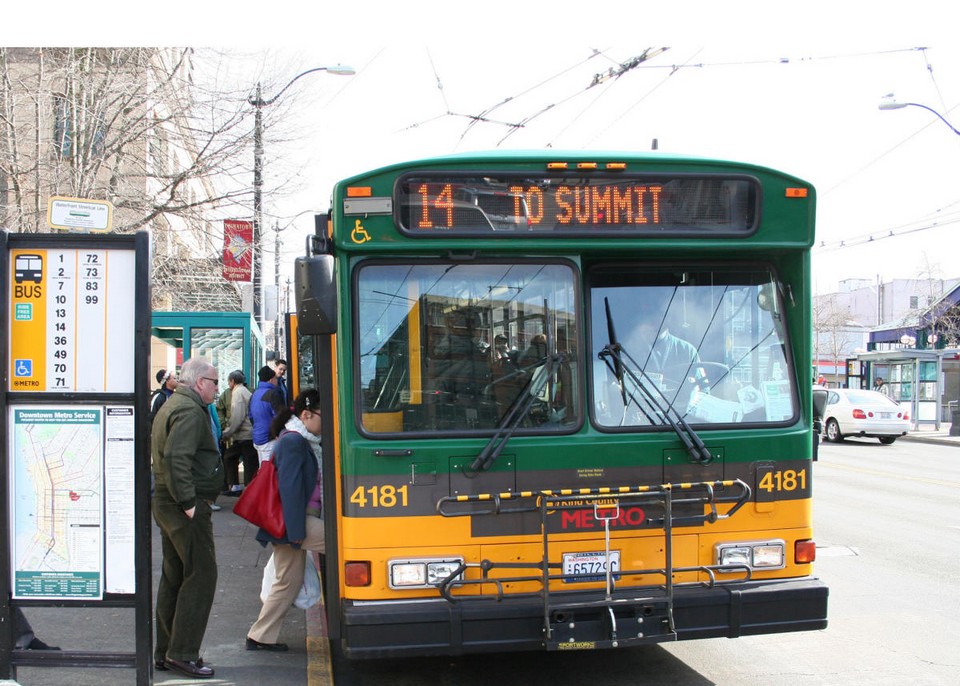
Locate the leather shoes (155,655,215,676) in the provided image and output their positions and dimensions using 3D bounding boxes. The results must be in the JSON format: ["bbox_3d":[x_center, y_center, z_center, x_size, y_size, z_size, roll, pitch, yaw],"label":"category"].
[{"bbox_3d":[-2.375,2.634,9.989,0.449,0.190,0.171,5,-3,-7],"label":"leather shoes"}]

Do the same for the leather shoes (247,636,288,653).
[{"bbox_3d":[-1.820,2.592,10.584,0.348,0.159,0.132,1,2,-12],"label":"leather shoes"}]

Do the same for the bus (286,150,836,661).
[{"bbox_3d":[0.598,-0.091,13.325,3.988,4.108,8.291,-1,9,1],"label":"bus"}]
